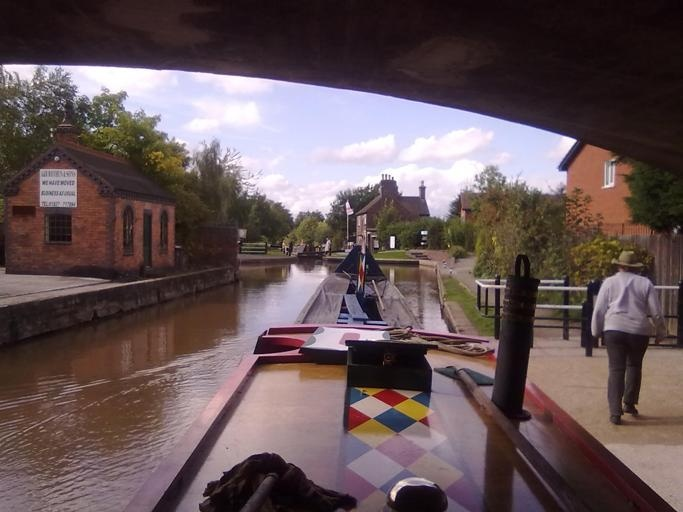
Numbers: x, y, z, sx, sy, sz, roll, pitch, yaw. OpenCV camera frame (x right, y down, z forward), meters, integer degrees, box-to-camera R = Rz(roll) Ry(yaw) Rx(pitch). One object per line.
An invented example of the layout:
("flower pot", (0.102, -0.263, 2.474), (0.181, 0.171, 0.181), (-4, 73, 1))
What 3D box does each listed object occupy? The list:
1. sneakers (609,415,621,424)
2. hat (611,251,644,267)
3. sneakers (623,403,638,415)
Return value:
("sneakers", (3.012, 1.776, 5.862), (0.050, 0.066, 0.147), (-1, -7, 4))
("hat", (4.205, 0.038, 7.784), (0.285, 0.141, 0.323), (3, -5, 37))
("sneakers", (3.266, 1.724, 6.088), (0.181, 0.142, 0.089), (-1, 1, 0))
